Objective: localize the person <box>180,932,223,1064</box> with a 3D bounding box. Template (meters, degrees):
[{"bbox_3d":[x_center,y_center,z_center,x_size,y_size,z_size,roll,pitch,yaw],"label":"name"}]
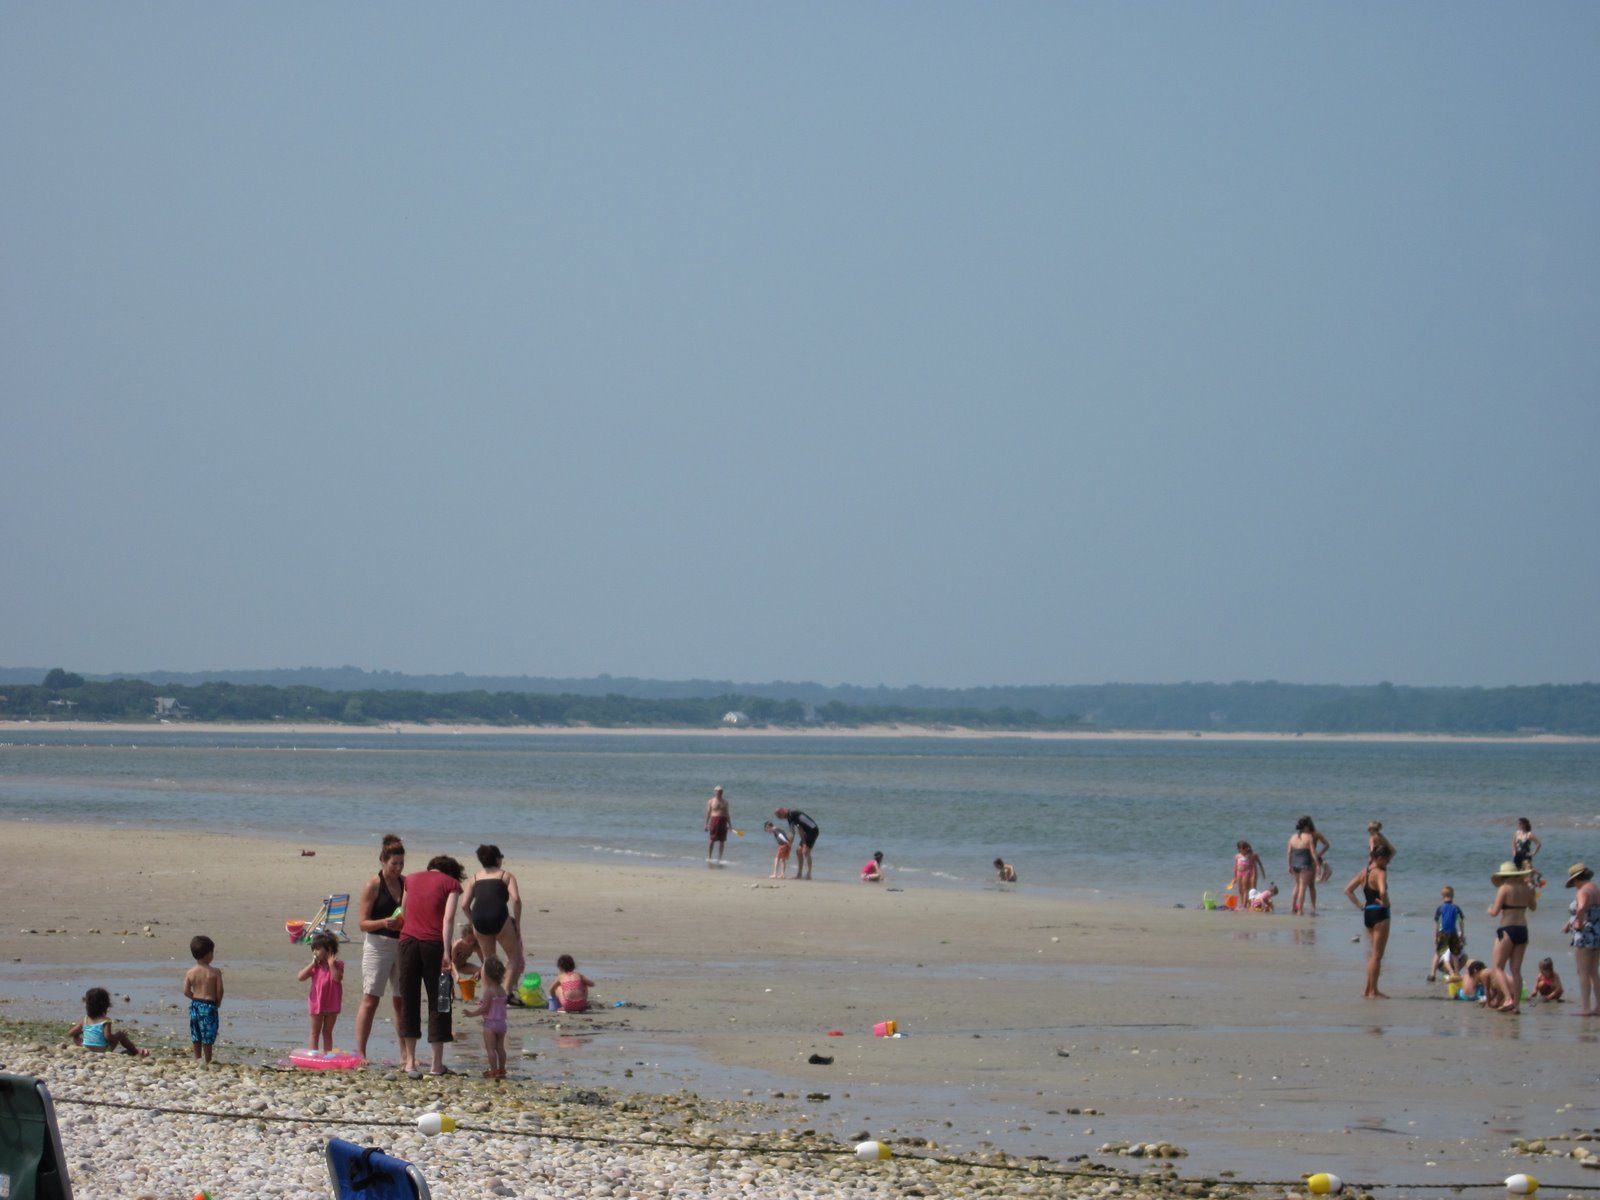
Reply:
[{"bbox_3d":[-7.114,4.725,32.433,0.385,1.405,1.272,0,-2,-13],"label":"person"}]

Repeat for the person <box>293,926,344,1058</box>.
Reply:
[{"bbox_3d":[-5.902,4.743,33.624,0.463,1.399,2.561,0,-2,-11],"label":"person"}]

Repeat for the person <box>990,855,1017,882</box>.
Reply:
[{"bbox_3d":[4.269,5.650,57.305,0.396,0.567,1.082,-4,-11,4],"label":"person"}]
